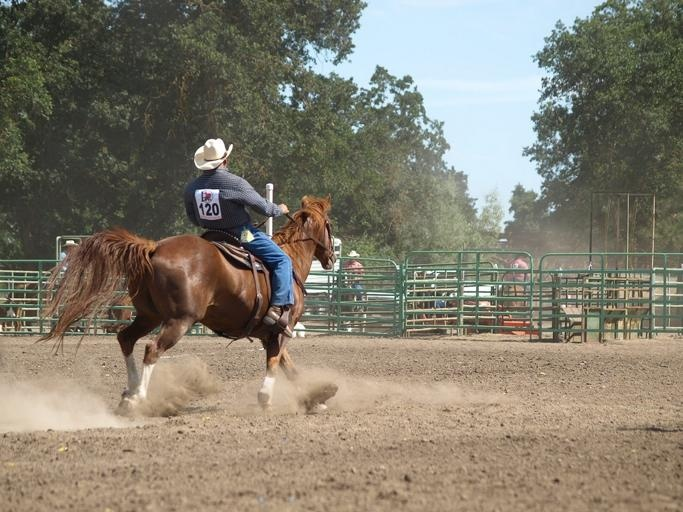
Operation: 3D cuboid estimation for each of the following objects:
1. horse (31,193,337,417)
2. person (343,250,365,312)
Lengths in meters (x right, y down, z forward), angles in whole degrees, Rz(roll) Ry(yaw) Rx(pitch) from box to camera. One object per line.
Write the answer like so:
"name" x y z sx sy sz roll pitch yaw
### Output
"horse" -4.061 1.318 33.490 9.830 6.467 2.406 2 1 -41
"person" 0.561 0.616 42.325 0.589 1.746 0.868 18 30 40
